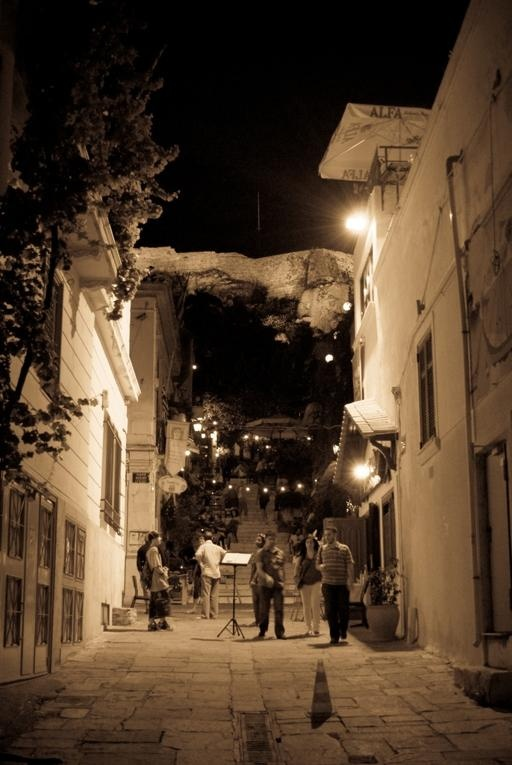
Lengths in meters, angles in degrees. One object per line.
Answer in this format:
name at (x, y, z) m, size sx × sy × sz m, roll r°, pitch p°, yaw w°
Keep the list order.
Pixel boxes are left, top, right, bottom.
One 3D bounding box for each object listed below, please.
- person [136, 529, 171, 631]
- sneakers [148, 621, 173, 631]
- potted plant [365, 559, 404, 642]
person at (-1.791, 3.512, 13.546) m, size 0.597 × 1.639 × 1.997 m, roll 1°, pitch -18°, yaw -8°
sneakers at (-1.554, 3.946, 12.583) m, size 0.411 × 0.257 × 0.168 m, roll 3°, pitch -1°, yaw -11°
potted plant at (2.075, 3.588, 12.661) m, size 0.583 × 1.263 × 2.262 m, roll -4°, pitch -18°, yaw 10°
